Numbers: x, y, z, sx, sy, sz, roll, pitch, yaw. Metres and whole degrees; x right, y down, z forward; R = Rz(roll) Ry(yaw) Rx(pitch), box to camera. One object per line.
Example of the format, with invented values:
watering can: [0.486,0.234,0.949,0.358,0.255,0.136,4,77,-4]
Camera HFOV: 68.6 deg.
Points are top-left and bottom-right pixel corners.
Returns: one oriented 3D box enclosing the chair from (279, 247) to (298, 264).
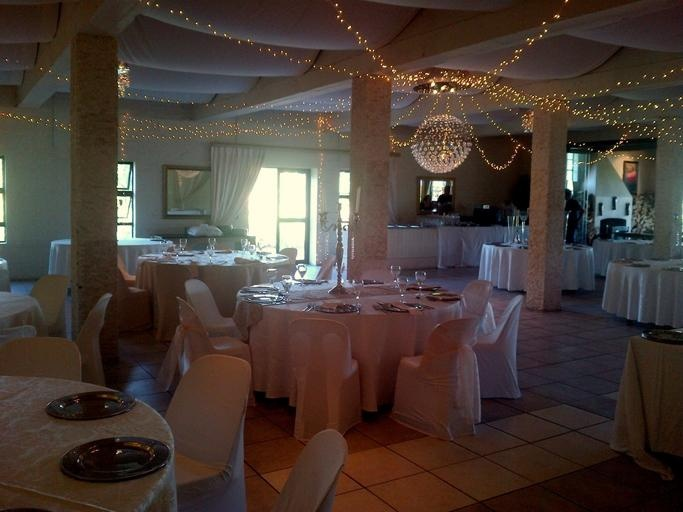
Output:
chair: [-0.831,-0.013,7.930,0.218,0.347,0.251,1,2,1]

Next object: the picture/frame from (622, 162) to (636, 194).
picture/frame: [7.945,-2.167,13.836,0.458,0.894,0.136,-1,8,-14]

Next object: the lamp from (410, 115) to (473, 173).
lamp: [1.685,-1.902,8.550,0.889,1.098,1.038,0,8,1]

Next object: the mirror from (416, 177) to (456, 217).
mirror: [2.615,-1.687,13.861,1.073,1.056,0.085,5,15,23]

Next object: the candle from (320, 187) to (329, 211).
candle: [-0.433,-1.410,12.259,0.159,0.541,0.278,8,11,43]

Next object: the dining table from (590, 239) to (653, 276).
dining table: [6.212,0.001,12.093,1.376,0.658,1.461,2,-1,-2]

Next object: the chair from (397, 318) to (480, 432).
chair: [0.756,0.878,4.039,0.621,0.901,0.655,-3,7,-21]

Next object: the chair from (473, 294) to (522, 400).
chair: [1.384,0.795,4.688,0.611,0.878,0.660,-1,6,34]

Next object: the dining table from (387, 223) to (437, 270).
dining table: [1.584,-0.221,12.275,1.614,1.313,0.939,-1,2,-27]

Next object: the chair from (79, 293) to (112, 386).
chair: [-1.895,0.681,3.872,0.183,0.770,0.339,1,8,0]

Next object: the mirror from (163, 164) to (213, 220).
mirror: [-3.276,-1.385,10.739,1.023,1.292,0.055,-2,36,-22]

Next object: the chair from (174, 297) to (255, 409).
chair: [-1.015,0.808,4.295,0.613,0.869,0.581,2,6,7]

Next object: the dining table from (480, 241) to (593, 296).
dining table: [3.871,0.230,9.661,1.522,0.622,1.537,0,0,-38]

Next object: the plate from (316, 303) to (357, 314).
plate: [-0.036,0.415,4.050,0.354,0.059,0.227,1,8,-2]

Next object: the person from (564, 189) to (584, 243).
person: [5.350,-0.953,11.610,0.351,1.210,1.044,5,9,25]
